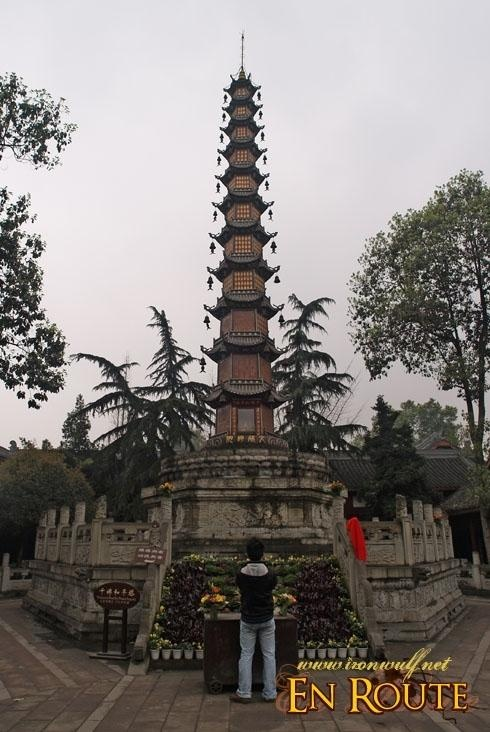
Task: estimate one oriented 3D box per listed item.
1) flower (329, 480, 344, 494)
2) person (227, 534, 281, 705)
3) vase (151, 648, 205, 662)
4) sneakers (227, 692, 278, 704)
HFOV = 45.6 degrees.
[{"bbox_3d":[2.443,3.273,15.573,0.311,0.344,0.320,3,-21,-3],"label":"flower"},{"bbox_3d":[0.100,2.648,5.803,0.426,1.281,0.416,1,-20,3],"label":"person"},{"bbox_3d":[-0.927,3.804,7.658,0.688,0.157,0.101,2,-21,0],"label":"vase"},{"bbox_3d":[0.077,3.251,5.714,0.450,0.106,0.293,1,-22,3],"label":"sneakers"}]
